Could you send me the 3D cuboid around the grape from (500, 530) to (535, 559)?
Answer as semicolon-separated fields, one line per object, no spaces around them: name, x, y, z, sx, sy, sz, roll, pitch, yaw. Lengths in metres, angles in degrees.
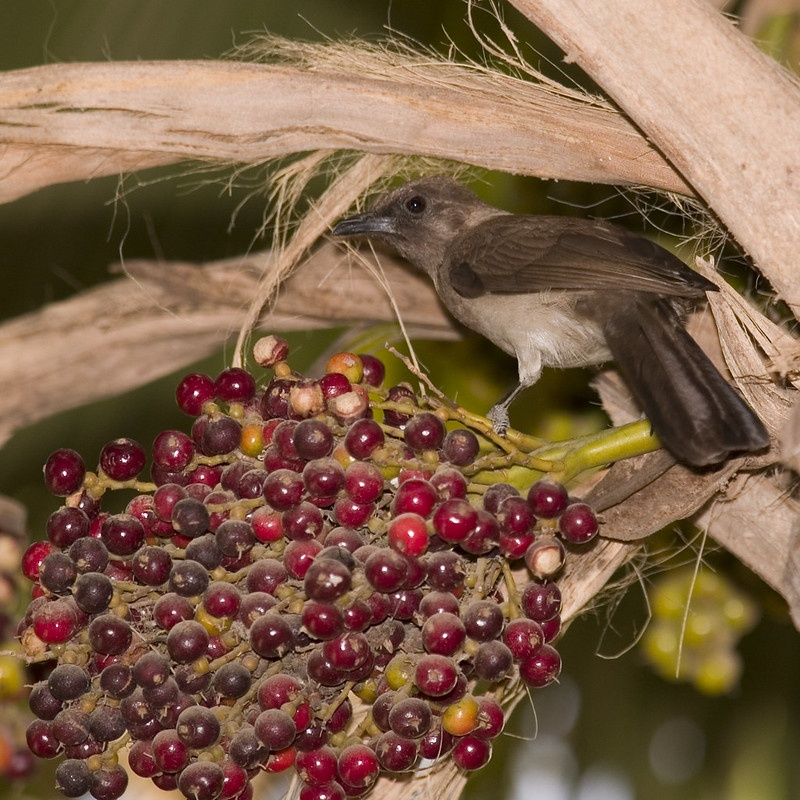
grape;0.191;0.250;1.838;0.046;0.027;0.054;18;-43;-39

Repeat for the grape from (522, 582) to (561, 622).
grape;0.240;0.347;1.844;0.054;0.061;0.048;20;37;11

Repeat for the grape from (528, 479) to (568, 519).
grape;0.249;0.169;1.826;0.075;0.058;0.078;-4;-12;3

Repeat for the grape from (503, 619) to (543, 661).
grape;0.206;0.401;1.809;0.080;0.074;0.066;3;34;8

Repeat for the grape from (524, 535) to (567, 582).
grape;0.253;0.271;1.839;0.066;0.075;0.046;37;-4;25

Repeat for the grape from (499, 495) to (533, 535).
grape;0.192;0.197;1.801;0.058;0.044;0.065;8;0;-7

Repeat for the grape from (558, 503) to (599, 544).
grape;0.305;0.214;1.853;0.067;0.067;0.055;-15;12;4
